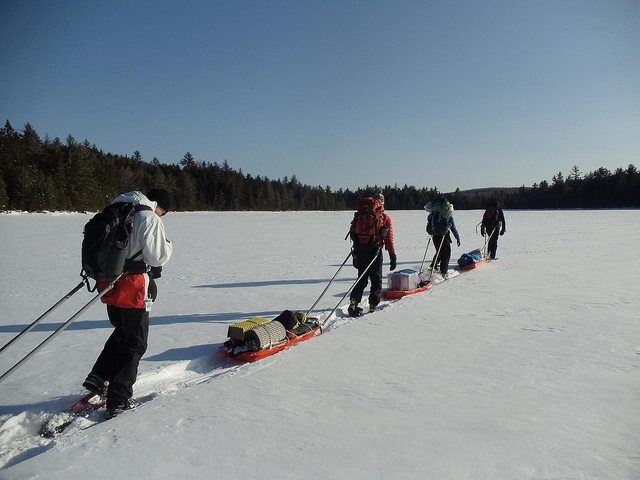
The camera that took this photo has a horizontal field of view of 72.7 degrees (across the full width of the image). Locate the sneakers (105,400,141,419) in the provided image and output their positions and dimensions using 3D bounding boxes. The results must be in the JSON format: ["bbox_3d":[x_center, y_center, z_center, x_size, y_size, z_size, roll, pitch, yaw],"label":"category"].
[{"bbox_3d":[-1.983,1.687,4.421,0.104,0.151,0.320,9,17,43],"label":"sneakers"}]

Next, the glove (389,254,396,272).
[{"bbox_3d":[1.327,0.395,7.736,0.079,0.264,0.176,5,-6,-8],"label":"glove"}]

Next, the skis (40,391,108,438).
[{"bbox_3d":[-2.473,1.730,4.364,0.174,0.125,0.668,19,10,8],"label":"skis"}]

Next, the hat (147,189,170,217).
[{"bbox_3d":[-1.773,-0.419,4.773,0.244,0.250,0.203,29,3,23],"label":"hat"}]

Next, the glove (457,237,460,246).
[{"bbox_3d":[3.494,0.023,11.001,0.076,0.271,0.198,1,-12,6],"label":"glove"}]

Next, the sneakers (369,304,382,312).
[{"bbox_3d":[0.942,1.177,7.573,0.163,0.116,0.219,0,9,8],"label":"sneakers"}]

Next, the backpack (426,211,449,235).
[{"bbox_3d":[2.774,-0.421,10.215,0.334,0.700,0.490,8,-4,-37],"label":"backpack"}]

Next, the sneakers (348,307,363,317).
[{"bbox_3d":[0.609,1.172,7.439,0.256,0.203,0.274,-1,9,2],"label":"sneakers"}]

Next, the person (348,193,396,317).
[{"bbox_3d":[0.943,0.171,7.860,0.817,2.021,1.492,0,8,10],"label":"person"}]
